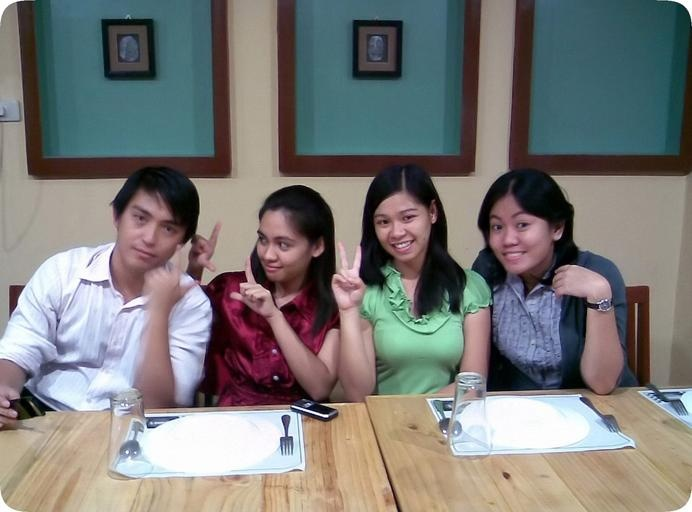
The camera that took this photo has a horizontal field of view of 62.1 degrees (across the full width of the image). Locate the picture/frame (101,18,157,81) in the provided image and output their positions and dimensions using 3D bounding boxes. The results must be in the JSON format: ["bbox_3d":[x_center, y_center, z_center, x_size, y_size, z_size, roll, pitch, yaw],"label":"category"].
[{"bbox_3d":[-1.049,-0.994,2.742,0.223,0.286,0.016,-4,-7,-11],"label":"picture/frame"}]

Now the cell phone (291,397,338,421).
[{"bbox_3d":[-0.095,0.446,1.691,0.099,0.023,0.059,10,13,25],"label":"cell phone"}]

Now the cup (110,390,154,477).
[{"bbox_3d":[-0.580,0.472,1.510,0.107,0.183,0.114,-12,-23,-5],"label":"cup"}]

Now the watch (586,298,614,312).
[{"bbox_3d":[0.861,0.165,1.924,0.049,0.023,0.052,-1,-13,-13],"label":"watch"}]

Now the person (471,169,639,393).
[{"bbox_3d":[0.730,0.120,2.122,0.423,0.883,0.641,-14,15,-43],"label":"person"}]

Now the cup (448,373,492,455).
[{"bbox_3d":[0.340,0.430,1.575,0.134,0.225,0.147,-5,8,5],"label":"cup"}]
